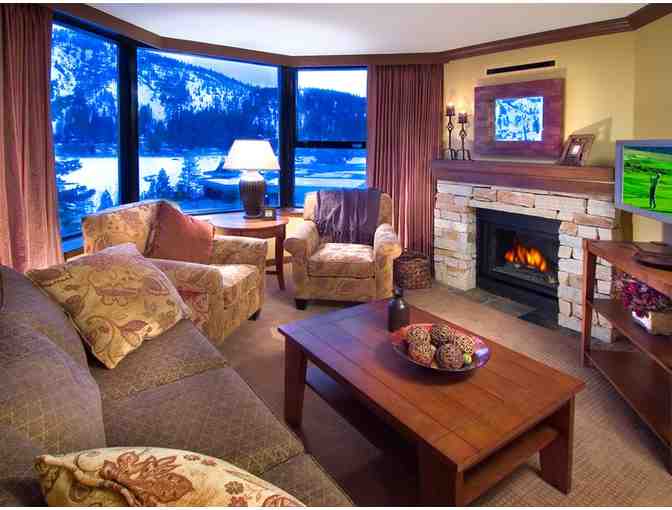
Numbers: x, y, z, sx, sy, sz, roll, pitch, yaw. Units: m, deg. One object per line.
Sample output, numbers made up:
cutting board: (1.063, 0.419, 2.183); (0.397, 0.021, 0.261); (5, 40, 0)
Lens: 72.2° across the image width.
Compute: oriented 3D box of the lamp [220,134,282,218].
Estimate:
lamp: (-0.749, -0.764, 4.640); (0.682, 0.894, 0.702); (7, 10, 42)

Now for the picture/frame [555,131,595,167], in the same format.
picture/frame: (1.969, -0.862, 3.771); (0.231, 0.232, 0.337); (9, 19, 34)

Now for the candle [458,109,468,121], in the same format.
candle: (1.290, -1.383, 4.614); (0.102, 0.119, 0.103); (1, 7, -4)
